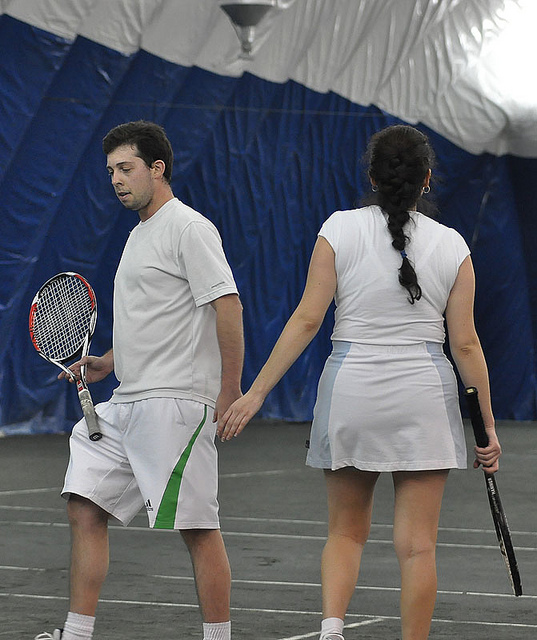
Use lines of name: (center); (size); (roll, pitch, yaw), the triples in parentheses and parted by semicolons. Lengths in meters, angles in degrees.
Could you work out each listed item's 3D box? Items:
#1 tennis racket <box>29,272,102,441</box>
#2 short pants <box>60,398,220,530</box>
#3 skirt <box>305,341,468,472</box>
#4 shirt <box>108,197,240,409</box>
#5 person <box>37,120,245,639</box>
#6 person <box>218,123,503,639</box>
tennis racket: (-0.742, 0.158, 3.700); (0.275, 0.089, 0.892); (-23, 47, -3)
short pants: (-0.407, 0.433, 3.102); (0.494, 0.408, 0.302); (-3, -7, 29)
skirt: (0.324, 0.213, 2.725); (0.428, 0.455, 0.254); (-1, -10, 10)
shirt: (-0.318, -0.044, 3.043); (0.385, 0.624, 0.295); (12, 17, 41)
person: (-0.366, 0.155, 3.086); (0.561, 1.510, 0.740); (0, 13, -3)
person: (0.298, 0.155, 2.699); (0.556, 1.337, 0.698); (11, 17, 39)
